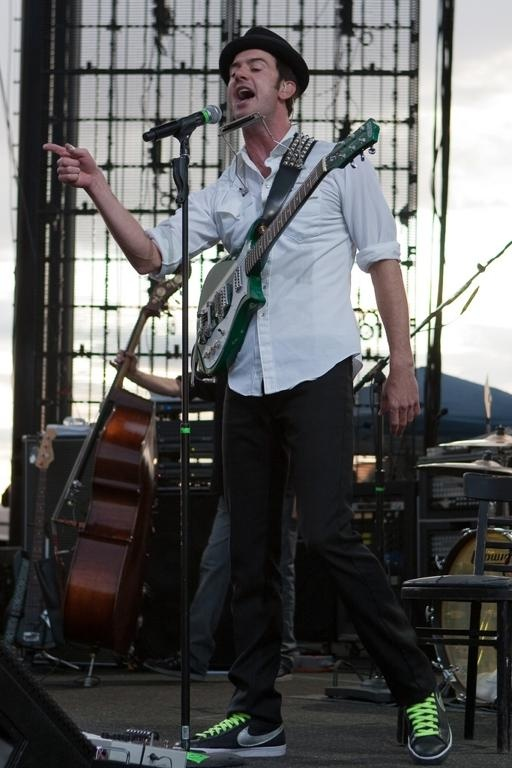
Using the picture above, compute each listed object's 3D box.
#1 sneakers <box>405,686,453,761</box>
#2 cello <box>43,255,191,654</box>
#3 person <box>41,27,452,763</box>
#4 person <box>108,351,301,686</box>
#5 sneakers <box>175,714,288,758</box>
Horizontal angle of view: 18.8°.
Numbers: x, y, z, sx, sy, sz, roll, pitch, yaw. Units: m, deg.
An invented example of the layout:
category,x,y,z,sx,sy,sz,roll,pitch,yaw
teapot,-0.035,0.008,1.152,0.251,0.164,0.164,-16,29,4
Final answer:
category,x,y,z,sx,sy,sz,roll,pitch,yaw
sneakers,0.558,1.118,5.007,0.137,0.225,0.110,-1,1,-7
cello,-0.611,0.320,6.575,0.523,1.748,0.585,1,3,-14
person,0.076,-0.009,5.204,1.124,2.486,0.513,0,1,6
person,-0.122,0.634,6.670,0.696,1.484,0.792,1,4,-24
sneakers,-0.061,1.162,5.059,0.312,0.145,0.143,-1,1,-2
